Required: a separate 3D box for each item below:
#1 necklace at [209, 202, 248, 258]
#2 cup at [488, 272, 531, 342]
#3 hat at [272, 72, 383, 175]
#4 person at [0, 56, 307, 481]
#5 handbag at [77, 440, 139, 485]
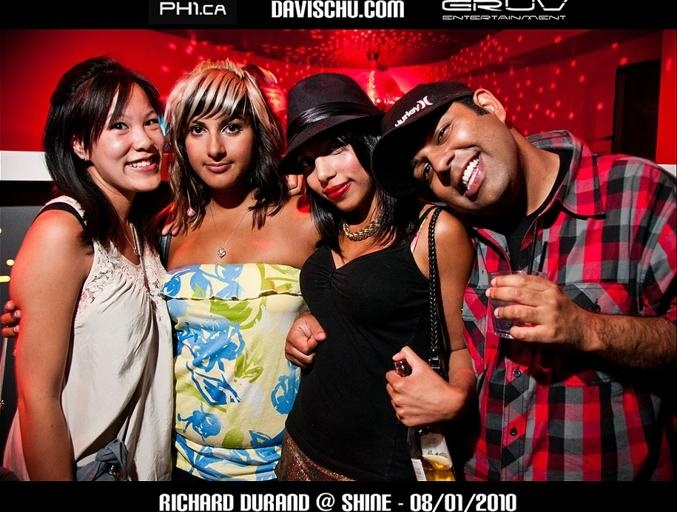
[{"bbox_3d":[-0.607,-0.118,2.985,0.289,0.310,0.110,-7,-20,25],"label":"necklace"},{"bbox_3d":[0.761,0.245,2.264,0.155,0.373,0.317,0,10,19],"label":"cup"},{"bbox_3d":[-0.066,-0.716,2.569,0.443,0.264,0.492,-29,-7,41],"label":"hat"},{"bbox_3d":[-0.771,0.083,2.786,1.338,2.275,0.653,-6,10,-16],"label":"person"},{"bbox_3d":[-1.131,0.995,2.461,0.199,0.208,0.091,-6,14,-15],"label":"handbag"}]
